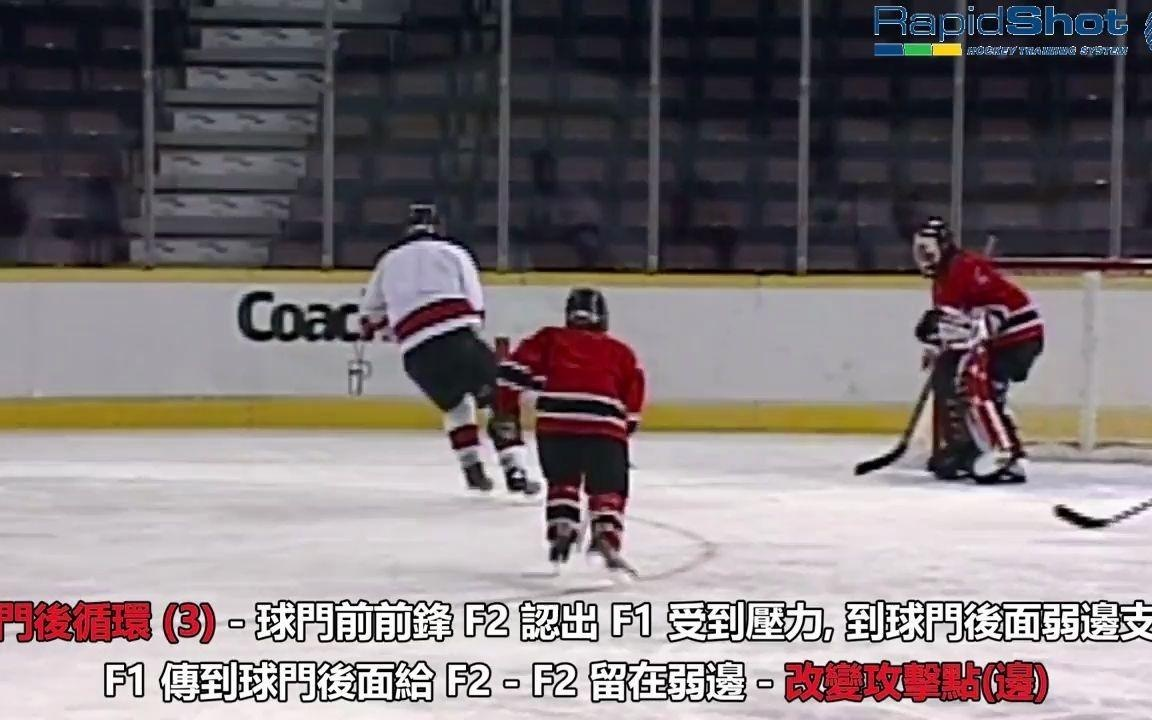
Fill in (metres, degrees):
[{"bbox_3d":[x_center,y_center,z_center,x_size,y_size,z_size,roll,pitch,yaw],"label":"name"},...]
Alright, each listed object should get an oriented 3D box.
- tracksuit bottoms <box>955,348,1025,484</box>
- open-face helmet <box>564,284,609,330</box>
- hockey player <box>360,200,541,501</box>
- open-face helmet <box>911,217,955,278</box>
[{"bbox_3d":[3.432,0.498,14.991,0.441,1.230,0.504,-10,-5,10],"label":"tracksuit bottoms"},{"bbox_3d":[0.056,-0.361,12.113,0.251,0.301,0.296,1,7,1],"label":"open-face helmet"},{"bbox_3d":[-1.098,-0.072,14.601,1.165,2.505,0.905,-15,-15,-4],"label":"hockey player"},{"bbox_3d":[3.130,-0.985,15.256,0.356,0.478,0.359,-3,-6,-6],"label":"open-face helmet"}]
